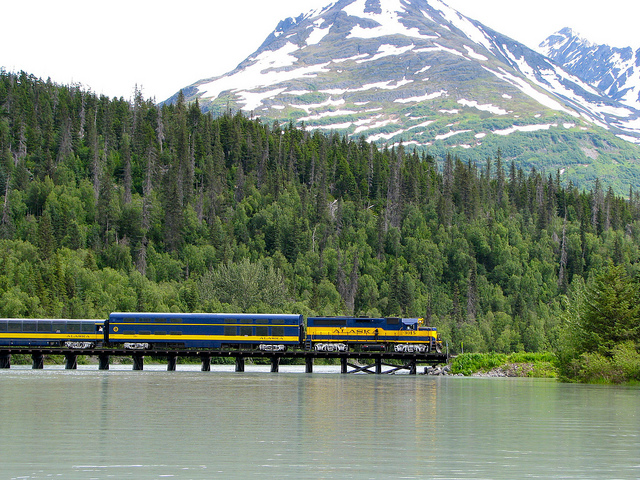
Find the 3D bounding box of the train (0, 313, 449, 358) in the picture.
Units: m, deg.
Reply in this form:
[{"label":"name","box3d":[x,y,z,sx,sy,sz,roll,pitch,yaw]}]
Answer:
[{"label":"train","box3d":[-19.130,18.618,256.185,80.460,10.561,5.978,-2,-4,-3]}]

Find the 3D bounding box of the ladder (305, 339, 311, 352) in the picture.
[{"label":"ladder","box3d":[-2.733,20.335,257.095,1.387,2.924,1.472,-1,0,20]}]
